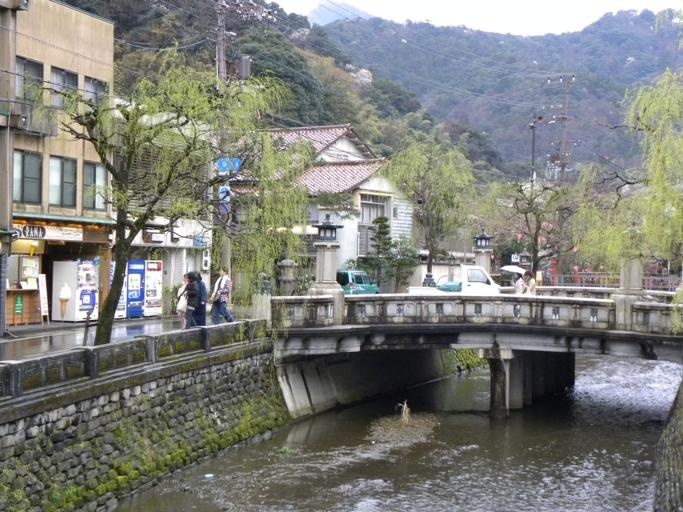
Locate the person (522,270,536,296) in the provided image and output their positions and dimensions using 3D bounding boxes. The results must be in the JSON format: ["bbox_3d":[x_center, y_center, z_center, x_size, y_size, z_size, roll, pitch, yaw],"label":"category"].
[{"bbox_3d":[6.474,0.945,32.274,0.357,0.811,1.176,3,7,9],"label":"person"}]

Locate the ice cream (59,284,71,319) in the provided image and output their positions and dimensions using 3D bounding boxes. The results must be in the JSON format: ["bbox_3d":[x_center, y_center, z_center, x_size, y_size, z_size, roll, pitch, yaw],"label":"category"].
[{"bbox_3d":[-9.113,1.528,30.783,0.363,1.213,0.183,2,6,5],"label":"ice cream"}]

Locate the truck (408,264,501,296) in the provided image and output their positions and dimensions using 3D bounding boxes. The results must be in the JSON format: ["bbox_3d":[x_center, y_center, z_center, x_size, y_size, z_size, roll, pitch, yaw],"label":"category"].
[{"bbox_3d":[4.245,1.155,35.394,2.641,1.586,1.790,-1,1,2],"label":"truck"}]

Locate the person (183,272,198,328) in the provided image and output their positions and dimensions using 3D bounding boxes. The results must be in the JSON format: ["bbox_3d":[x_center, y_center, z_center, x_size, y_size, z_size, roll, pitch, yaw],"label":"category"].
[{"bbox_3d":[-4.303,1.296,26.838,0.372,1.610,0.595,-2,7,-26],"label":"person"}]

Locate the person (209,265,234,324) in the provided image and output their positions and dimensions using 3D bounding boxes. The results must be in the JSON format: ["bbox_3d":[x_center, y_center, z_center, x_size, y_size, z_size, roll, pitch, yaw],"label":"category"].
[{"bbox_3d":[-3.515,1.212,27.496,0.621,1.665,1.000,0,6,-10],"label":"person"}]
